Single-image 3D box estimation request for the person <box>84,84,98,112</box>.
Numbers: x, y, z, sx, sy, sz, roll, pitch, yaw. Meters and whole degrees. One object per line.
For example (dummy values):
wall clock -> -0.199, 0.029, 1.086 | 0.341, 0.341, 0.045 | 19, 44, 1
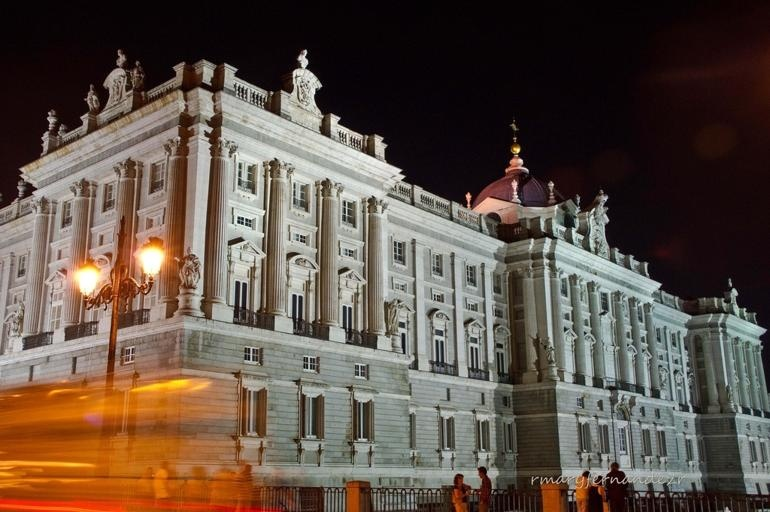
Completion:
person -> -19.251, -10.254, 49.497 | 0.688, 1.811, 0.602 | -2, -25, 1
